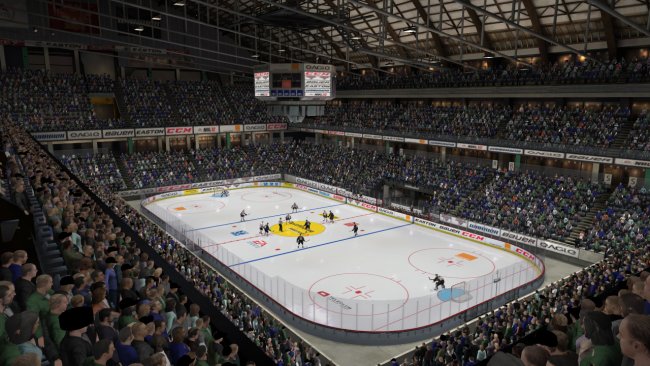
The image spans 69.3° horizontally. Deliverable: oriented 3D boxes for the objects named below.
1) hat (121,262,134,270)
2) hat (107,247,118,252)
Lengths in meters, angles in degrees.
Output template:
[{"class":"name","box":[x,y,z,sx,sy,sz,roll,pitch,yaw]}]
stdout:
[{"class":"hat","box":[-11.618,4.946,27.647,0.736,0.342,0.716,-7,17,-26]},{"class":"hat","box":[-12.966,4.090,28.729,0.556,0.349,0.533,-6,16,-22]}]
